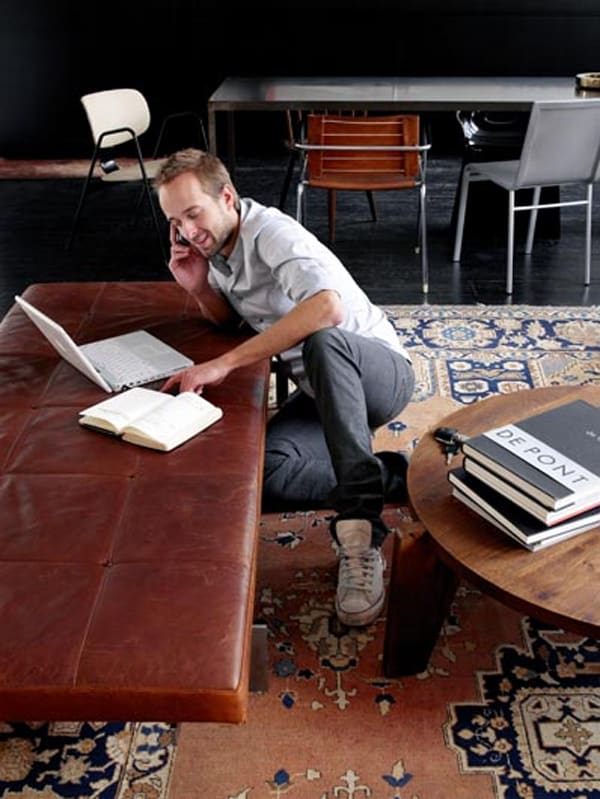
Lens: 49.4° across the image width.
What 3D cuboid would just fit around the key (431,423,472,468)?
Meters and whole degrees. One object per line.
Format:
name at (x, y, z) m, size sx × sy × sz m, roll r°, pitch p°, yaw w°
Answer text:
key at (0.298, 0.089, 1.296) m, size 0.089 × 0.023 × 0.060 m, roll 3°, pitch 43°, yaw 5°

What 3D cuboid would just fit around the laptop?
laptop at (-0.456, -0.099, 1.561) m, size 0.322 × 0.186 × 0.322 m, roll -18°, pitch 37°, yaw -34°

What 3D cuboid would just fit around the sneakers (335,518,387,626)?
sneakers at (0.140, 0.356, 1.393) m, size 0.092 × 0.098 × 0.244 m, roll -1°, pitch 40°, yaw 8°

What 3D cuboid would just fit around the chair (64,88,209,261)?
chair at (-1.084, -1.296, 3.893) m, size 0.709 × 0.792 × 0.641 m, roll -6°, pitch 19°, yaw -34°
